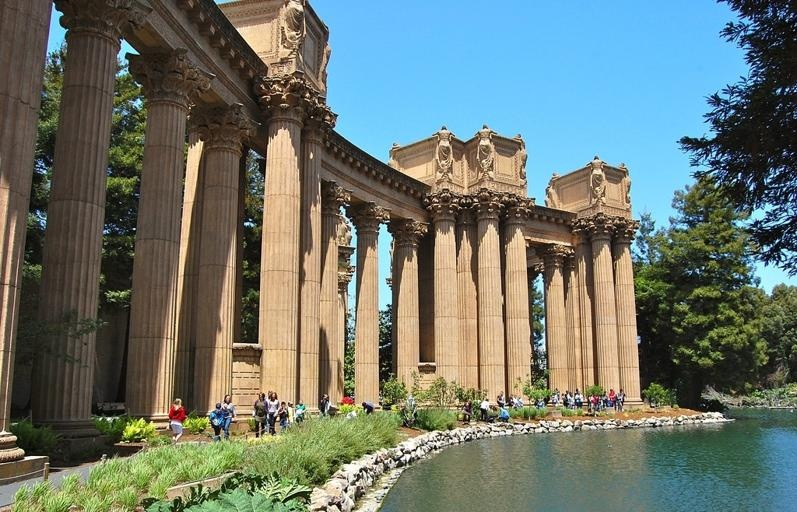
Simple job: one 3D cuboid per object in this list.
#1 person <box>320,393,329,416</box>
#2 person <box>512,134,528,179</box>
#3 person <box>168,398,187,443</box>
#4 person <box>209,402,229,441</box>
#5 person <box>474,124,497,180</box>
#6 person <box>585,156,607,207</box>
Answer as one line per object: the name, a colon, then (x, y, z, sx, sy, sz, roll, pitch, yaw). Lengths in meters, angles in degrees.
person: (-3.720, 7.484, 32.735, 0.287, 0.923, 0.852, 6, -10, -36)
person: (9.588, -7.775, 51.368, 0.765, 3.574, 1.374, 0, -8, 25)
person: (-8.277, 6.101, 24.317, 0.545, 1.555, 1.388, 6, -8, -18)
person: (-7.136, 6.500, 25.838, 0.664, 1.274, 1.439, 5, -7, -15)
person: (6.583, -7.873, 49.809, 1.513, 4.375, 1.030, 3, -7, 4)
person: (17.056, -6.456, 56.286, 1.354, 4.313, 0.781, 1, -7, 15)
